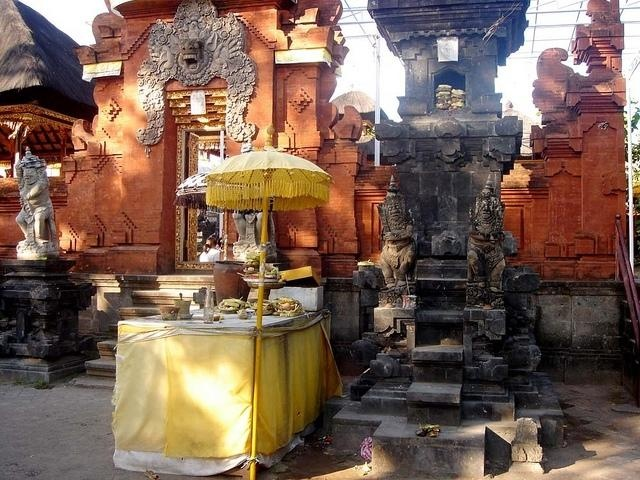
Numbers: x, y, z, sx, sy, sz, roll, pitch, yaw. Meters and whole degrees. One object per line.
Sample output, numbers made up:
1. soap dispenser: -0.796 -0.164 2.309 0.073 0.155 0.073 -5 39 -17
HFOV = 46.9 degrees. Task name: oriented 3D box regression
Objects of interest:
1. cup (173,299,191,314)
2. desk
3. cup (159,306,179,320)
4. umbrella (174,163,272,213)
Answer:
1. cup: -1.846 0.894 9.955 0.191 0.151 0.177 0 -4 0
2. desk: -1.119 2.052 10.145 1.831 1.461 2.351 -1 -9 17
3. cup: -2.014 0.955 9.788 0.192 0.127 0.197 -1 -4 0
4. umbrella: -2.060 -1.038 13.853 1.578 0.929 1.638 -14 -1 40
